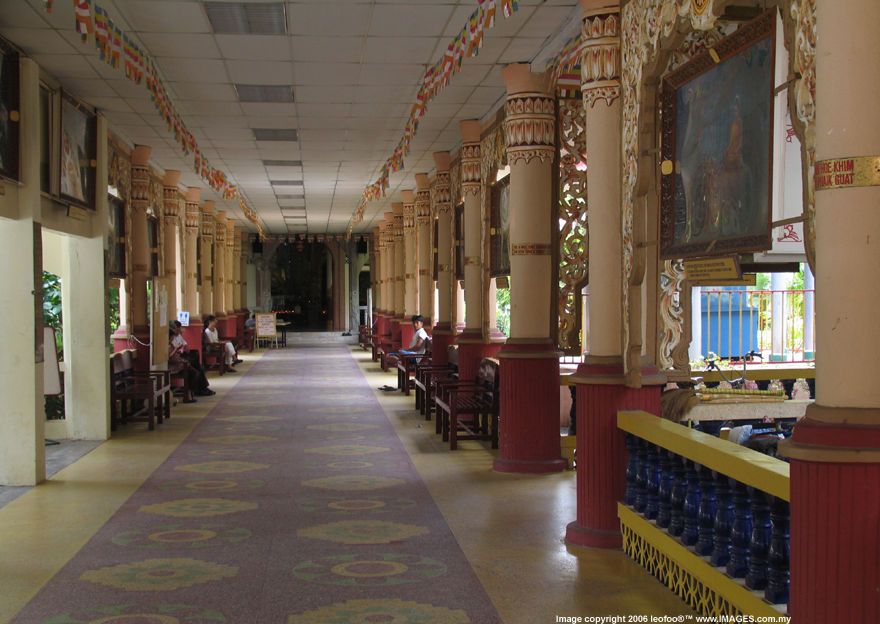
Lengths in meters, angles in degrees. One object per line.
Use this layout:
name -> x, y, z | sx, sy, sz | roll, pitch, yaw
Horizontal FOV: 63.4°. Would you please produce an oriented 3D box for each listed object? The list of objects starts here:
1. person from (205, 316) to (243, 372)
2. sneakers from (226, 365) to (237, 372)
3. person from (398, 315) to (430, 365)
person -> -5.878, 0.843, 19.142 | 0.788, 1.429, 1.454 | 2, 5, -5
sneakers -> -5.642, 1.539, 19.425 | 0.302, 0.227, 0.121 | -4, -2, 22
person -> -0.612, 0.598, 16.556 | 0.758, 1.079, 0.813 | 3, 4, 18
